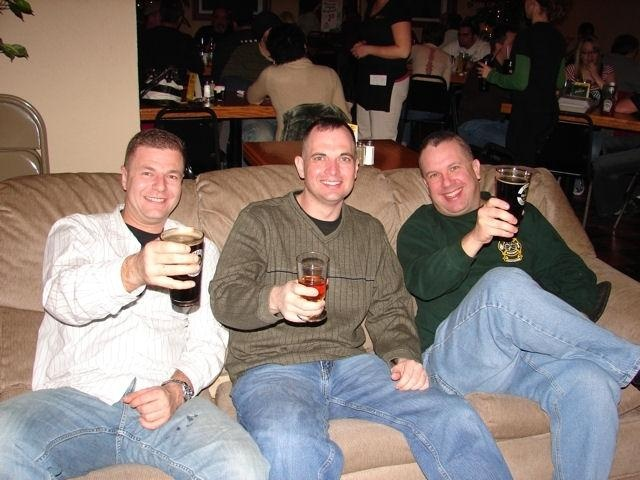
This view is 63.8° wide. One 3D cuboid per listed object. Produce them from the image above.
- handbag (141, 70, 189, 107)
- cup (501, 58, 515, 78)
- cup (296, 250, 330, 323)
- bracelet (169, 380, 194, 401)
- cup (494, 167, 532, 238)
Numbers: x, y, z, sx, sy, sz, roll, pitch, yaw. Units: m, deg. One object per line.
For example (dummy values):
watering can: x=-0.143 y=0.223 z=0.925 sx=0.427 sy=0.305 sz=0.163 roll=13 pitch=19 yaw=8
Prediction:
handbag: x=-1.465 y=-1.426 z=4.855 sx=0.442 sy=0.211 sz=0.551 roll=3 pitch=32 yaw=-8
cup: x=1.768 y=-1.636 z=4.851 sx=0.091 sy=0.159 sz=0.232 roll=9 pitch=18 yaw=16
cup: x=-0.030 y=0.140 z=1.907 sx=0.113 sy=0.163 sz=0.151 roll=3 pitch=18 yaw=-2
bracelet: x=-0.550 y=0.600 z=2.090 sx=0.092 sy=0.047 sz=0.074 roll=19 pitch=-18 yaw=39
cup: x=0.818 y=-0.195 z=2.231 sx=0.136 sy=0.232 sz=0.214 roll=9 pitch=19 yaw=16
